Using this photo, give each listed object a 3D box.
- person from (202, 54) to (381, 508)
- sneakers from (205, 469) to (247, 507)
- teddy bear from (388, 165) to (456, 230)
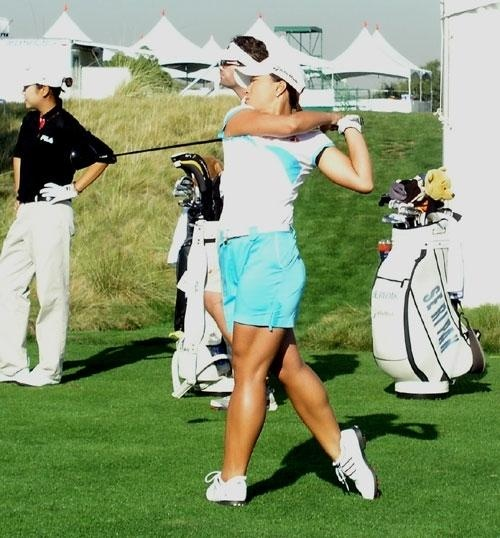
[{"bbox_3d":[0.146,0.064,4.360,0.721,1.996,0.338,-1,5,-5],"label":"person"},{"bbox_3d":[-0.099,0.983,4.369,0.099,0.108,0.222,3,-5,-22],"label":"sneakers"},{"bbox_3d":[1.064,-0.447,6.254,0.379,0.257,0.359,3,17,23],"label":"teddy bear"}]
